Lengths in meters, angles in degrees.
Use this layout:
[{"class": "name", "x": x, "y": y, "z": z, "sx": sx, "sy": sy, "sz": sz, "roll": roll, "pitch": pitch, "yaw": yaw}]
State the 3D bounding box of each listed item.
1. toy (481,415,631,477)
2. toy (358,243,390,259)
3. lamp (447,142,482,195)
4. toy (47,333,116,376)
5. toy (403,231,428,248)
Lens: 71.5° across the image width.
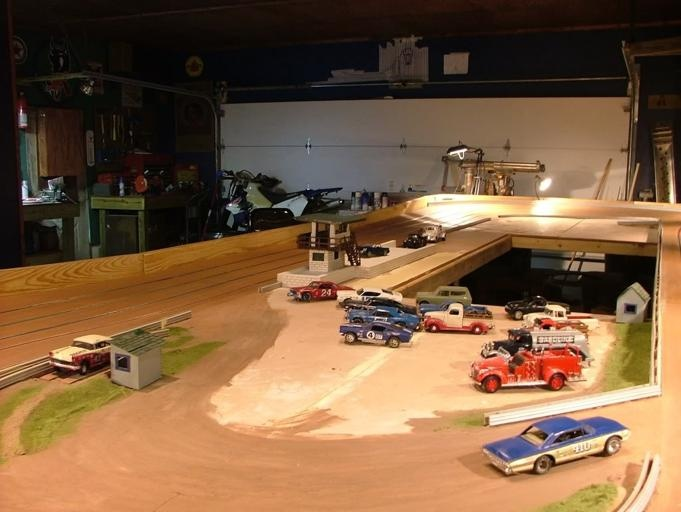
[{"class": "toy", "x": 1.170, "y": 1.015, "z": 2.574, "sx": 0.773, "sy": 0.175, "sz": 0.303, "roll": -12, "pitch": 18, "yaw": -18}, {"class": "toy", "x": 0.518, "y": -0.075, "z": 7.274, "sx": 0.396, "sy": 0.140, "sz": 0.219, "roll": -2, "pitch": 15, "yaw": -1}, {"class": "lamp", "x": 3.546, "y": -2.434, "z": 13.541, "sx": 1.137, "sy": 1.348, "sz": 0.742, "roll": 3, "pitch": 8, "yaw": -2}, {"class": "toy", "x": -2.158, "y": 0.822, "z": 3.992, "sx": 0.301, "sy": 0.188, "sz": 0.486, "roll": 4, "pitch": 6, "yaw": 20}, {"class": "toy", "x": 1.269, "y": -0.272, "z": 7.916, "sx": 0.271, "sy": 0.184, "sz": 0.420, "roll": 1, "pitch": 7, "yaw": 17}]
